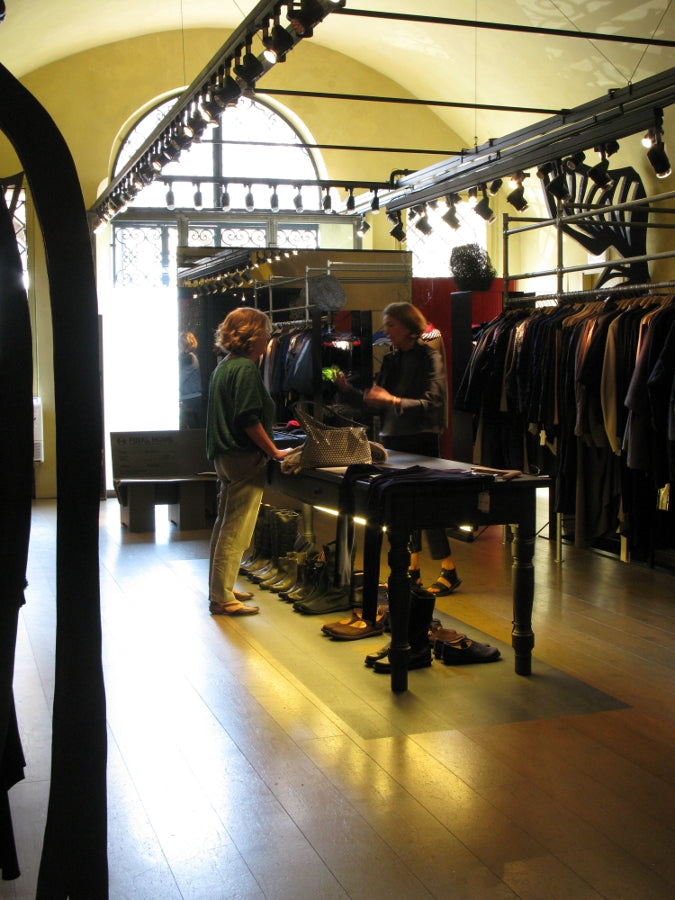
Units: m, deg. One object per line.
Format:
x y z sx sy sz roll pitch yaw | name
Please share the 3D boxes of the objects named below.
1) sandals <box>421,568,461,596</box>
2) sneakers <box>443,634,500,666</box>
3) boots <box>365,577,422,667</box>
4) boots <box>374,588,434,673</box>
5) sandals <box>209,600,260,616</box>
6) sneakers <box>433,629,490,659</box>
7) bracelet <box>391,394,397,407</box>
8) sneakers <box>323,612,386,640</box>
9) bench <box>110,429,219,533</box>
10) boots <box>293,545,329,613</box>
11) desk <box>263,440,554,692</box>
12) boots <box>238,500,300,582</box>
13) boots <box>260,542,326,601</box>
0.721 0.942 5.261 0.182 0.223 0.506 -5 -4 35 | sandals
0.711 1.078 3.947 0.230 0.104 0.152 -2 0 -14 | sneakers
0.338 0.956 3.836 0.337 0.434 0.185 -2 2 -21 | boots
0.331 0.931 3.838 0.380 0.490 0.181 -5 17 -14 | boots
-0.718 1.082 4.983 0.340 0.133 0.127 -1 -1 -5 | sandals
0.693 1.060 3.958 0.239 0.100 0.141 1 4 -31 | sneakers
0.394 -0.336 5.067 0.022 0.065 0.049 -1 7 -8 | bracelet
0.110 1.095 4.443 0.317 0.124 0.238 0 -5 -21 | sneakers
-1.961 0.393 8.164 1.123 1.143 0.709 -3 3 -23 | bench
-0.233 0.946 5.201 0.451 0.326 0.152 -6 22 -12 | boots
0.488 0.619 4.526 0.770 1.021 2.140 -1 2 -8 | desk
-0.560 0.755 6.045 0.538 0.707 0.568 4 -3 -29 | boots
-0.305 0.926 5.327 0.329 0.231 0.517 5 14 40 | boots
